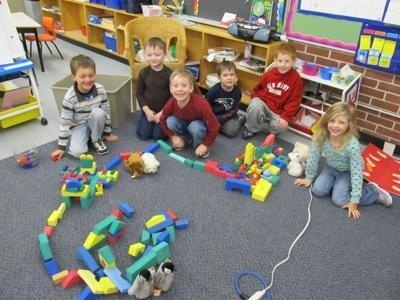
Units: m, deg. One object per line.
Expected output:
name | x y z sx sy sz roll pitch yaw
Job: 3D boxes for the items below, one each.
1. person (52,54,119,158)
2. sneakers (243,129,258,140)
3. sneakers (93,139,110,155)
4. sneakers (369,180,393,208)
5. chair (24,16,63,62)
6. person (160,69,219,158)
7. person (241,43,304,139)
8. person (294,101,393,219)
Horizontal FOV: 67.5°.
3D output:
person | -1.017 -0.347 2.511 0.424 0.794 0.607 20 35 11
sneakers | 0.503 -0.151 2.971 0.062 0.070 0.156 43 29 26
sneakers | -0.892 -0.028 2.666 0.178 0.072 0.078 33 47 33
sneakers | 1.363 0.332 2.311 0.089 0.094 0.234 17 32 -43
chair | -2.334 -1.623 4.381 0.384 0.542 0.340 -10 24 -28
person | -0.104 -0.348 2.665 0.538 0.741 0.394 13 31 27
person | 0.718 -0.537 2.891 0.457 0.873 0.437 22 33 28
person | 1.168 0.101 2.368 0.440 0.724 0.648 -19 29 -30
